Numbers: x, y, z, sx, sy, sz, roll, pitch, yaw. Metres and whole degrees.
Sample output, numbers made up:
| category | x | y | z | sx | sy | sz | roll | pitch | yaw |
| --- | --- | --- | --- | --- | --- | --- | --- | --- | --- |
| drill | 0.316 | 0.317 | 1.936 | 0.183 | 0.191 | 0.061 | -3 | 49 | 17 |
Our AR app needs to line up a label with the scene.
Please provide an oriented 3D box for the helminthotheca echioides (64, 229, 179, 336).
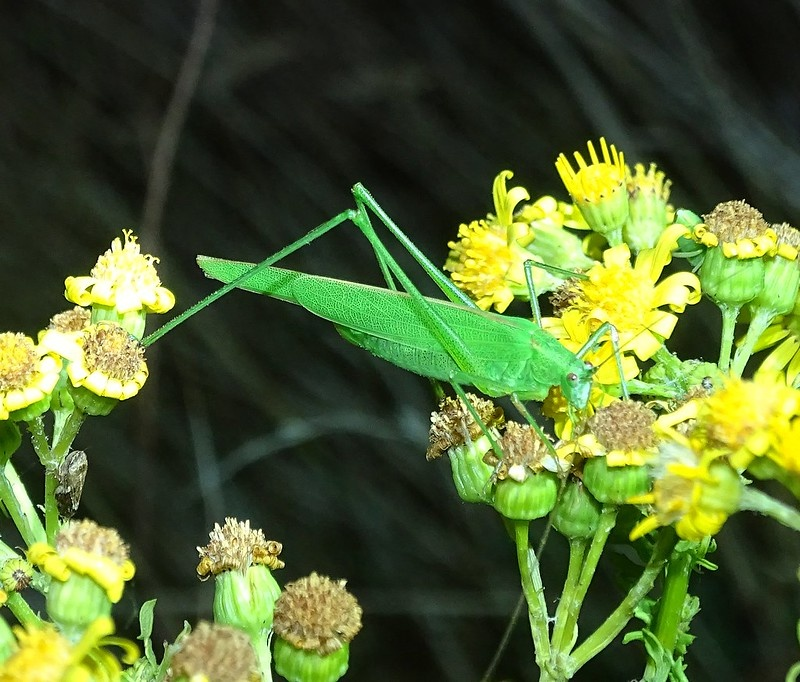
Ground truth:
| category | x | y | z | sx | sy | sz | roll | pitch | yaw |
| --- | --- | --- | --- | --- | --- | --- | --- | --- | --- |
| helminthotheca echioides | -0.358 | -0.069 | 1.290 | 0.112 | 0.109 | 0.153 | 14 | -76 | 34 |

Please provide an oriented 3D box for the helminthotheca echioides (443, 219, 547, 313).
| category | x | y | z | sx | sy | sz | roll | pitch | yaw |
| --- | --- | --- | --- | --- | --- | --- | --- | --- | --- |
| helminthotheca echioides | 0.115 | -0.123 | 1.382 | 0.103 | 0.102 | 0.146 | -2 | -77 | 4 |

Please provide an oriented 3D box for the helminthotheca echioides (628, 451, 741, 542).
| category | x | y | z | sx | sy | sz | roll | pitch | yaw |
| --- | --- | --- | --- | --- | --- | --- | --- | --- | --- |
| helminthotheca echioides | 0.306 | 0.160 | 1.067 | 0.084 | 0.083 | 0.110 | 0 | -80 | 2 |

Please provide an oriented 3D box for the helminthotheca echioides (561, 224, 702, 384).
| category | x | y | z | sx | sy | sz | roll | pitch | yaw |
| --- | --- | --- | --- | --- | --- | --- | --- | --- | --- |
| helminthotheca echioides | 0.302 | -0.072 | 1.323 | 0.184 | 0.164 | 0.203 | -1 | -75 | 5 |
